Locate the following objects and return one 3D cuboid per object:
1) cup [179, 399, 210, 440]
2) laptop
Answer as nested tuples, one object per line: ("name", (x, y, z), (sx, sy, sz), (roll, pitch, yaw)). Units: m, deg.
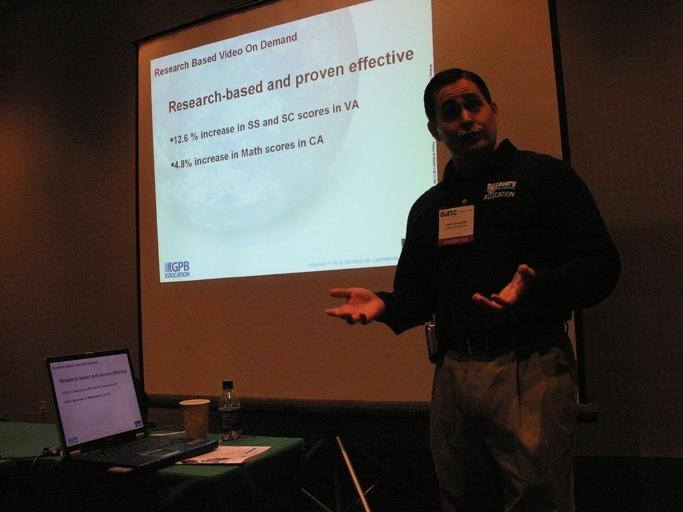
("cup", (-0.624, 0.717, 2.586), (0.131, 0.157, 0.137), (-2, -6, 0))
("laptop", (-0.863, 0.619, 2.473), (0.544, 0.429, 0.491), (-5, -7, 28))
